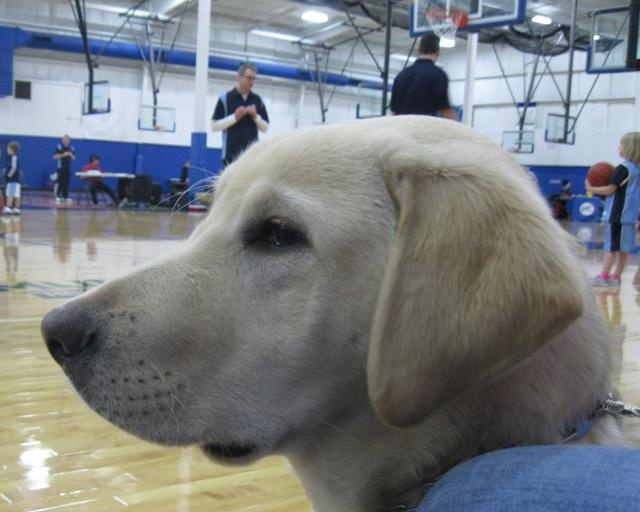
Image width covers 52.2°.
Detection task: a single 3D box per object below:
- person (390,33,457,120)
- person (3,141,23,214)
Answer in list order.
[{"bbox_3d":[1.003,-1.751,6.263,0.582,0.843,0.695,1,7,-3],"label":"person"},{"bbox_3d":[-6.820,-1.775,14.466,0.314,1.511,2.770,-2,8,-25],"label":"person"}]
